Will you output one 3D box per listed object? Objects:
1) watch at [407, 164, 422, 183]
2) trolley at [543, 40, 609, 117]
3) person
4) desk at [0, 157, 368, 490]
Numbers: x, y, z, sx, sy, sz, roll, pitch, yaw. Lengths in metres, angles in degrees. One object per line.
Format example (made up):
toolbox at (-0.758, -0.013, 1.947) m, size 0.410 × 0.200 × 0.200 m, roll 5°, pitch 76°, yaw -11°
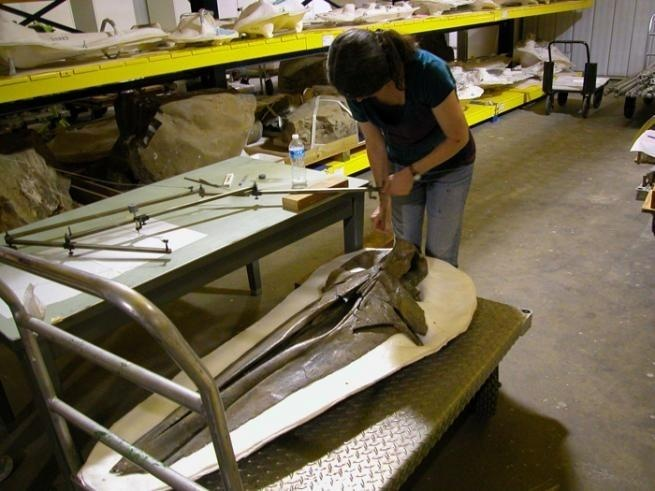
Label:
watch at (0.477, -0.405, 2.557) m, size 0.063 × 0.101 × 0.092 m, roll -25°, pitch 46°, yaw -10°
trolley at (4.024, -2.773, 7.650) m, size 0.768 × 1.079 × 1.240 m, roll 16°, pitch 31°, yaw 37°
person at (0.428, -0.413, 2.504) m, size 0.661 × 1.405 × 0.699 m, roll 2°, pitch 28°, yaw 16°
desk at (-0.772, 0.360, 3.030) m, size 0.924 × 0.836 × 1.737 m, roll 26°, pitch 44°, yaw 34°
